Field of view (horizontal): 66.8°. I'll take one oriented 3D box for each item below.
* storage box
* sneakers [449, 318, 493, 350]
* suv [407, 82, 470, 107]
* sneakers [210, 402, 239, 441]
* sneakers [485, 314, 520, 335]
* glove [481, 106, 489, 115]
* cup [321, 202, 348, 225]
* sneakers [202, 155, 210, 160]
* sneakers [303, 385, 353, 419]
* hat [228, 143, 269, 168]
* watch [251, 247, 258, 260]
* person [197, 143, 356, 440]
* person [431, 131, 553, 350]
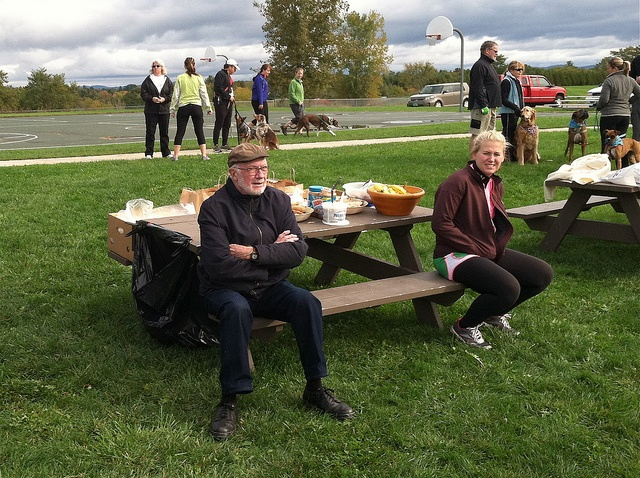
[{"bbox_3d":[-1.536,-0.087,4.531,0.924,0.433,0.674,-8,18,-41],"label":"storage box"},{"bbox_3d":[1.320,0.856,4.280,0.347,0.154,0.135,24,38,22],"label":"sneakers"},{"bbox_3d":[9.510,-11.839,39.952,3.821,1.861,1.963,0,14,11],"label":"suv"},{"bbox_3d":[-0.623,1.183,3.140,0.165,0.148,0.204,-2,13,2],"label":"sneakers"},{"bbox_3d":[1.665,0.788,4.526,0.346,0.140,0.119,15,-2,23],"label":"sneakers"},{"bbox_3d":[3.628,-2.831,10.660,0.159,0.172,0.255,2,14,18],"label":"glove"},{"bbox_3d":[0.138,-0.226,4.425,0.202,0.123,0.214,0,13,0],"label":"cup"},{"bbox_3d":[-2.863,-2.025,12.147,0.260,0.108,0.091,2,10,44],"label":"sneakers"},{"bbox_3d":[0.050,1.129,3.382,0.374,0.137,0.143,14,32,24],"label":"sneakers"},{"bbox_3d":[-0.525,-0.628,3.600,0.266,0.106,0.198,-2,13,8],"label":"hat"},{"bbox_3d":[-0.473,0.112,3.530,0.055,0.084,0.078,0,36,-3],"label":"watch"},{"bbox_3d":[-0.428,0.256,3.473,0.906,1.829,1.080,-6,14,-14],"label":"person"},{"bbox_3d":[1.536,-0.026,4.331,0.907,1.830,0.712,-11,16,-32],"label":"person"}]
